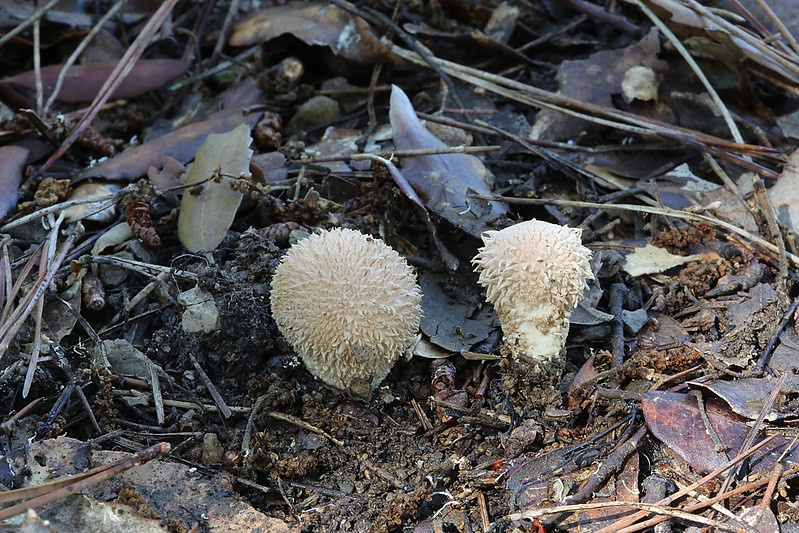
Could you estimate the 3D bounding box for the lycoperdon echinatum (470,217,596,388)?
[{"bbox_3d":[0.703,0.143,4.267,0.545,0.883,0.667,-1,12,5],"label":"lycoperdon echinatum"}]
